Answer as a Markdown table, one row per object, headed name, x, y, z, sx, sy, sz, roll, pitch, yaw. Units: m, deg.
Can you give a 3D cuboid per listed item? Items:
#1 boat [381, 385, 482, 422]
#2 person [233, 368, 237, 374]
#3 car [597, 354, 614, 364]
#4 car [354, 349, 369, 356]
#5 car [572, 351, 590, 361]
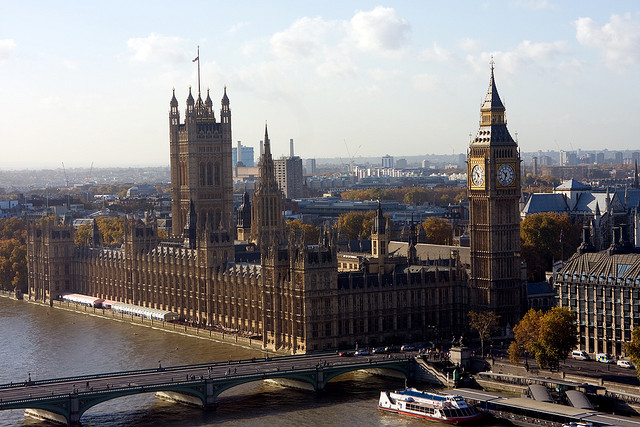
| name | x | y | z | sx | sy | sz | roll | pitch | yaw |
| --- | --- | --- | --- | --- | --- | --- | --- | --- | --- |
| boat | 17.320 | 30.412 | 220.537 | 10.077 | 2.704 | 6.331 | 1 | 2 | 36 |
| person | -13.913 | 25.902 | 229.920 | 0.364 | 1.092 | 0.917 | -1 | 2 | -44 |
| car | 48.446 | 24.636 | 237.021 | 2.223 | 1.015 | 1.277 | -2 | 2 | 18 |
| car | 7.386 | 24.020 | 241.514 | 1.886 | 0.583 | 0.900 | 10 | -11 | -42 |
| car | 44.727 | 24.322 | 239.731 | 2.245 | 1.182 | 1.366 | 0 | 1 | 42 |
